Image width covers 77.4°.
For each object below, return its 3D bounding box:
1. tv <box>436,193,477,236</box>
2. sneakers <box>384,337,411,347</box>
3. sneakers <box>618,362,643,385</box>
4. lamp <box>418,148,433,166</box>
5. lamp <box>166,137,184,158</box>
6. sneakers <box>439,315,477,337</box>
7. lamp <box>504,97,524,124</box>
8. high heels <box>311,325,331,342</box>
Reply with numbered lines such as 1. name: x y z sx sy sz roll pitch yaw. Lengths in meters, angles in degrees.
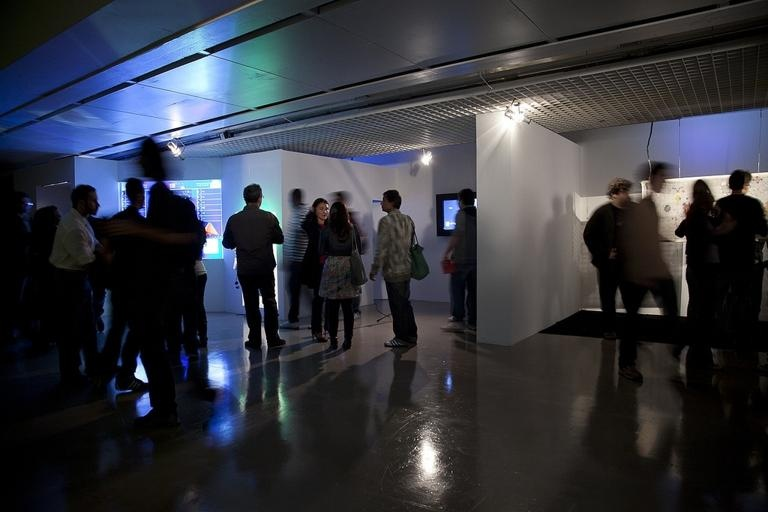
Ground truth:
1. tv: 1.349 -0.778 8.795 0.931 0.939 0.096 -2 -3 33
2. sneakers: 0.203 1.232 6.878 0.375 0.156 0.139 2 -2 9
3. sneakers: 2.816 1.330 5.424 0.157 0.169 0.251 -1 -6 -22
4. lamp: 0.902 -2.105 10.243 0.275 0.238 0.250 -2 -3 18
5. lamp: -3.675 -1.932 8.540 0.195 0.078 0.314 10 -36 -1
6. sneakers: 1.144 1.125 7.708 0.622 0.259 0.209 8 -7 -1
7. lamp: 1.783 -1.997 6.625 0.198 0.280 0.093 -23 27 -3
8. high heels: -0.988 1.217 7.366 0.384 0.172 0.133 -3 -1 43
